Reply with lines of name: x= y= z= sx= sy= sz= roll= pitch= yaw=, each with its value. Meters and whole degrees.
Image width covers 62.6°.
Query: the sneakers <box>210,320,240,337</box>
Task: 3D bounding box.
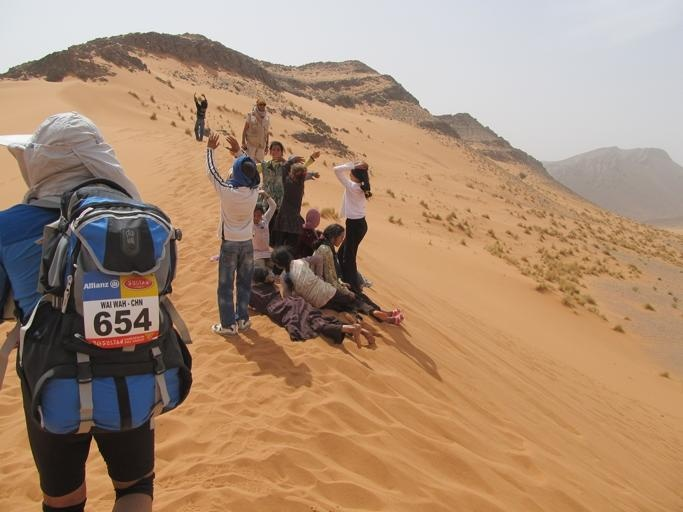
sneakers: x=-1.581 y=0.966 z=7.610 sx=0.349 sy=0.158 sz=0.162 roll=8 pitch=5 yaw=24

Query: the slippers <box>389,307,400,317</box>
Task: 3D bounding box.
slippers: x=0.786 y=0.825 z=8.327 sx=0.080 sy=0.097 sz=0.144 roll=3 pitch=-2 yaw=-36

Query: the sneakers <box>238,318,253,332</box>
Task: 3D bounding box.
sneakers: x=-1.320 y=0.937 z=7.640 sx=0.148 sy=0.143 sz=0.347 roll=1 pitch=-8 yaw=-7
